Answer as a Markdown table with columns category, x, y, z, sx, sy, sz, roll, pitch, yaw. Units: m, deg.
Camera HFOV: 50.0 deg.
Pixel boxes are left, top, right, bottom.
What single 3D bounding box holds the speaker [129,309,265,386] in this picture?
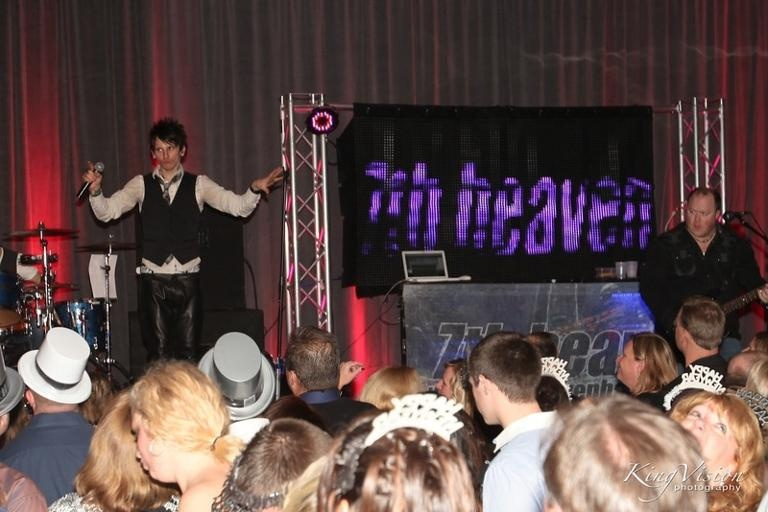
| category | x | y | z | sx | sy | sz | roll | pitch | yaw |
| --- | --- | --- | --- | --- | --- | --- | --- | --- | --- |
| speaker | -1.819 | 1.046 | 8.097 | 1.159 | 1.172 | 0.640 | -1 | 8 | -4 |

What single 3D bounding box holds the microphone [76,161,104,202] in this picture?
| category | x | y | z | sx | sy | sz | roll | pitch | yaw |
| --- | --- | --- | --- | --- | --- | --- | --- | --- | --- |
| microphone | -2.702 | -0.680 | 7.594 | 0.137 | 0.485 | 0.143 | 17 | -31 | 3 |

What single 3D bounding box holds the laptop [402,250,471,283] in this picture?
| category | x | y | z | sx | sy | sz | roll | pitch | yaw |
| --- | --- | --- | --- | --- | --- | --- | --- | --- | --- |
| laptop | 0.442 | 0.090 | 8.005 | 0.446 | 0.278 | 0.362 | -1 | -4 | -15 |

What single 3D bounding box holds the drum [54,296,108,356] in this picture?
| category | x | y | z | sx | sy | sz | roll | pitch | yaw |
| --- | --- | --- | --- | --- | --- | --- | --- | --- | --- |
| drum | -2.830 | 0.675 | 7.956 | 0.514 | 0.626 | 0.534 | 0 | -3 | 0 |

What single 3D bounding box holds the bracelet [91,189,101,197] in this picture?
| category | x | y | z | sx | sy | sz | roll | pitch | yaw |
| --- | --- | --- | --- | --- | --- | --- | --- | --- | --- |
| bracelet | -2.528 | -0.553 | 7.259 | 0.065 | 0.052 | 0.066 | -6 | 15 | 2 |

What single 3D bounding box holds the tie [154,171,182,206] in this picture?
| category | x | y | z | sx | sy | sz | roll | pitch | yaw |
| --- | --- | --- | --- | --- | --- | --- | --- | --- | --- |
| tie | -1.945 | -0.592 | 7.422 | 0.285 | 0.393 | 0.052 | -1 | -19 | -11 |

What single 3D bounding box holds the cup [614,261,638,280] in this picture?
| category | x | y | z | sx | sy | sz | roll | pitch | yaw |
| --- | --- | --- | --- | --- | --- | --- | --- | --- | --- |
| cup | 2.425 | 0.145 | 8.269 | 0.202 | 0.164 | 0.191 | 0 | -7 | 0 |

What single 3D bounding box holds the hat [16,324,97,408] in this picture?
| category | x | y | z | sx | sy | sz | roll | pitch | yaw |
| --- | --- | --- | --- | --- | --- | --- | --- | --- | --- |
| hat | -2.006 | 0.659 | 5.022 | 0.404 | 0.426 | 0.427 | -1 | 2 | -25 |
